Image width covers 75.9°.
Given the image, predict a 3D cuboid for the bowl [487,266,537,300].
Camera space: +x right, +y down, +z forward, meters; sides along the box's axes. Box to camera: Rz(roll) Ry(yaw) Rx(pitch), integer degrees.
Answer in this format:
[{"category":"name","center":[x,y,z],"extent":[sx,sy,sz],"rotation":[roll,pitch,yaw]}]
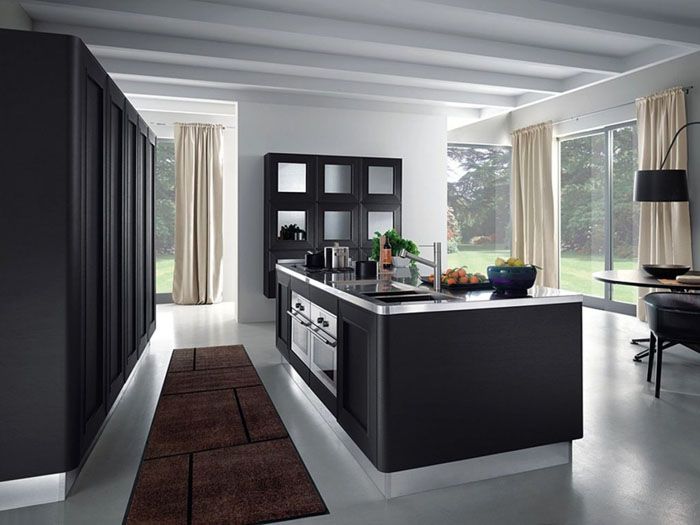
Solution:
[{"category":"bowl","center":[0.994,0.117,2.805],"extent":[0.215,0.142,0.219],"rotation":[0,-5,0]}]

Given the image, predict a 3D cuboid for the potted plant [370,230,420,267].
[{"category":"potted plant","center":[0.404,-0.154,4.005],"extent":[0.337,0.342,0.386],"rotation":[1,-2,-36]}]

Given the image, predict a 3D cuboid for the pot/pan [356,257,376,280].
[{"category":"pot/pan","center":[0.136,0.053,3.618],"extent":[0.144,0.112,0.144],"rotation":[1,-5,-7]}]

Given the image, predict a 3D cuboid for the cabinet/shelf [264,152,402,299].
[{"category":"cabinet/shelf","center":[-0.324,-0.512,5.644],"extent":[2.073,2.061,0.588],"rotation":[2,-3,-24]}]

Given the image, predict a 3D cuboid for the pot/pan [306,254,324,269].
[{"category":"pot/pan","center":[-0.314,-0.006,4.045],"extent":[0.135,0.119,0.133],"rotation":[2,-4,-29]}]

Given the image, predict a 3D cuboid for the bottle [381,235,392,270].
[{"category":"bottle","center":[0.329,-0.096,3.949],"extent":[0.111,0.288,0.092],"rotation":[1,5,14]}]
